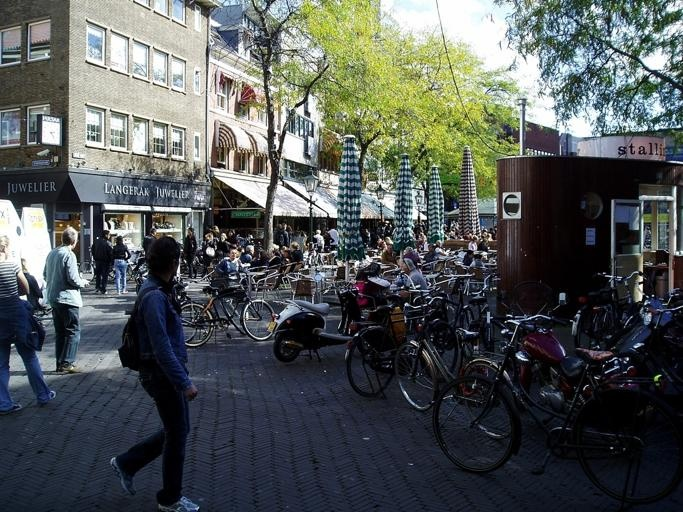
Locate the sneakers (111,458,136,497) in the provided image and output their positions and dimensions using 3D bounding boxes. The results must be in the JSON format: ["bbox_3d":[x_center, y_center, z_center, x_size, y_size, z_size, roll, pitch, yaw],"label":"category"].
[{"bbox_3d":[-1.888,1.912,4.881,0.146,0.357,0.118,-22,9,1],"label":"sneakers"}]

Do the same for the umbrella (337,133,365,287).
[{"bbox_3d":[0.264,-1.151,15.063,0.903,4.223,0.906,11,22,32],"label":"umbrella"}]
